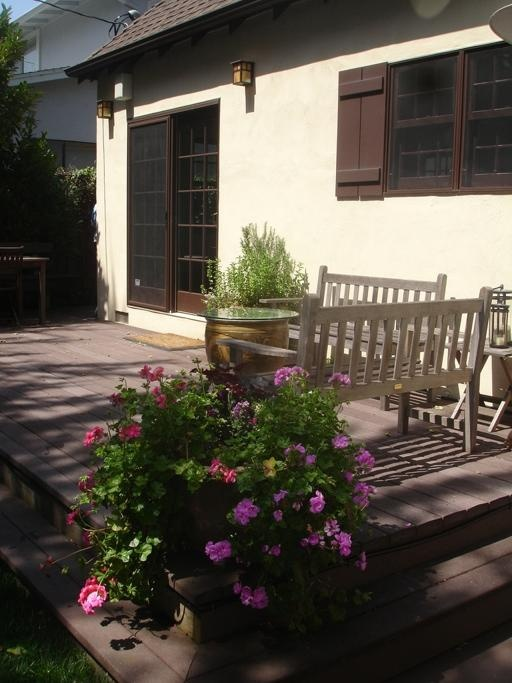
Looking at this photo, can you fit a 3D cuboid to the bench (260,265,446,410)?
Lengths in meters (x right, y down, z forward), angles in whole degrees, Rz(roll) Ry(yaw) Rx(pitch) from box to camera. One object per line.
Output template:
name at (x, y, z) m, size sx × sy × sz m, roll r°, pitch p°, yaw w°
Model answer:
bench at (0.669, -0.038, 3.314) m, size 0.469 × 0.712 × 1.158 m, roll -7°, pitch 11°, yaw -34°

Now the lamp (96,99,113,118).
lamp at (-2.398, -3.691, 8.346) m, size 0.197 × 0.254 × 0.375 m, roll -7°, pitch 4°, yaw -31°

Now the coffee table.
coffee table at (-0.087, -0.023, 4.485) m, size 0.765 × 0.539 × 0.767 m, roll 8°, pitch 13°, yaw 22°

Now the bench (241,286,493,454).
bench at (0.672, 0.155, 2.940) m, size 1.266 × 0.914 × 0.484 m, roll -5°, pitch 10°, yaw -30°

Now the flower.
flower at (-0.135, 0.400, 1.535) m, size 0.791 × 0.627 × 0.874 m, roll -4°, pitch 4°, yaw -9°

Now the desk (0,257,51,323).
desk at (-3.593, -0.842, 8.074) m, size 0.922 × 0.943 × 0.726 m, roll 4°, pitch 4°, yaw -8°

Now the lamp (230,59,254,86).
lamp at (-0.159, -2.990, 5.867) m, size 0.200 × 0.187 × 0.259 m, roll -8°, pitch 4°, yaw -38°
